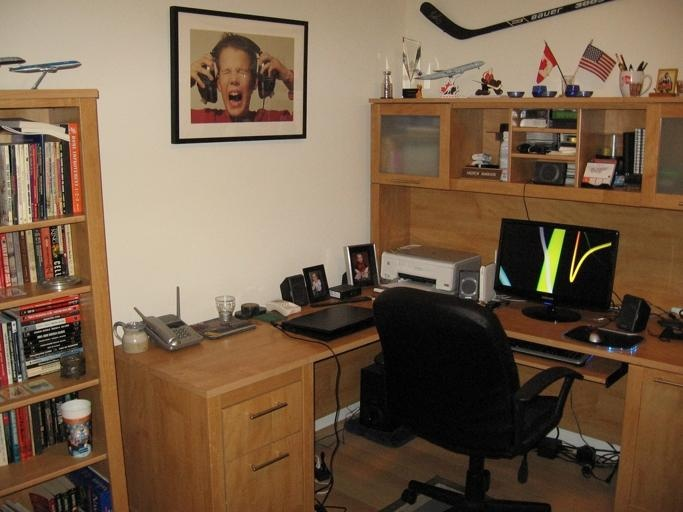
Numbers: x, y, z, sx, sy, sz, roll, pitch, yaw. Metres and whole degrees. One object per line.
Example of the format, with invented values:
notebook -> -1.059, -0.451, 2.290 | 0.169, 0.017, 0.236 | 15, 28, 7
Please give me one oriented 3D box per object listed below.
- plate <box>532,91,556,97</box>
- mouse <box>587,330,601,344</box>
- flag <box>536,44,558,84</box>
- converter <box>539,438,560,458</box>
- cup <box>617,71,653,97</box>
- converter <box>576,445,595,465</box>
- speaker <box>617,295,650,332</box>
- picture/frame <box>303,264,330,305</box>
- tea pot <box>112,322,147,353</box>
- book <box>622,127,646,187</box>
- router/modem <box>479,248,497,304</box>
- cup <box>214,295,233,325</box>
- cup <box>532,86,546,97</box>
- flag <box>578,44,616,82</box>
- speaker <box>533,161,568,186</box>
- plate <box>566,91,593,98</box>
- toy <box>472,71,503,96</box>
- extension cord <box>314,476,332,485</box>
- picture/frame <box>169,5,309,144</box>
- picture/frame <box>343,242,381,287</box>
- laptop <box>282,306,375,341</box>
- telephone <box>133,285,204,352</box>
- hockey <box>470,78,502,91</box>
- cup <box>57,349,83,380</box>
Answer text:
plate -> 1.181, -0.942, 3.283 | 0.072, 0.022, 0.071 | -8, 12, -35
mouse -> 1.311, 0.423, 2.928 | 0.058, 0.038, 0.057 | 2, -1, -41
flag -> 1.255, -1.194, 3.455 | 0.123, 0.250, 0.146 | 1, 13, 18
converter -> 1.276, 1.167, 3.495 | 0.115, 0.073, 0.159 | 6, 11, 36
cup -> 1.583, -0.946, 3.124 | 0.210, 0.147, 0.132 | 2, 7, 18
converter -> 1.476, 1.210, 3.415 | 0.095, 0.090, 0.122 | -1, -17, 34
speaker -> 1.588, 0.318, 3.074 | 0.116, 0.205, 0.142 | 19, 3, -19
picture/frame -> -0.169, 0.187, 3.584 | 0.020, 0.241, 0.206 | -2, 14, 43
tea pot -> -1.074, 0.404, 2.852 | 0.207, 0.139, 0.124 | 5, 9, 28
book -> 1.579, -0.539, 3.095 | 0.071, 0.310, 0.141 | -9, 14, -28
router/modem -> 0.923, 0.169, 3.554 | 0.166, 0.215, 0.060 | -7, 11, -42
cup -> -0.647, 0.292, 3.094 | 0.135, 0.146, 0.133 | 1, 4, 0
cup -> 1.148, -0.968, 3.311 | 0.075, 0.053, 0.073 | 0, 11, 0
flag -> 1.514, -1.151, 3.333 | 0.202, 0.178, 0.022 | 35, 25, 14
speaker -> 1.218, -0.485, 3.323 | 0.168, 0.146, 0.145 | 10, 10, 43
plate -> 1.338, -0.915, 3.185 | 0.137, 0.044, 0.196 | 2, 13, 20
toy -> 0.917, -1.096, 3.602 | 0.206, 0.170, 0.154 | -6, 14, -20
extension cord -> -0.116, 1.313, 3.265 | 0.091, 0.021, 0.092 | -4, 9, -43
picture/frame -> -0.606, -1.039, 3.170 | 0.913, 0.623, 0.037 | -10, 19, -37
picture/frame -> 0.127, 0.063, 3.849 | 0.284, 0.306, 0.081 | -8, -1, -42
laptop -> -0.046, 0.359, 3.139 | 0.226, 0.039, 0.308 | 10, 16, 39
telephone -> -0.876, 0.294, 2.887 | 0.324, 0.302, 0.231 | 15, 19, 29
hockey -> 0.916, -1.103, 3.602 | 0.184, 0.054, 0.101 | 21, 21, 35
cup -> -1.265, 0.520, 2.687 | 0.127, 0.120, 0.099 | 2, 6, 23
